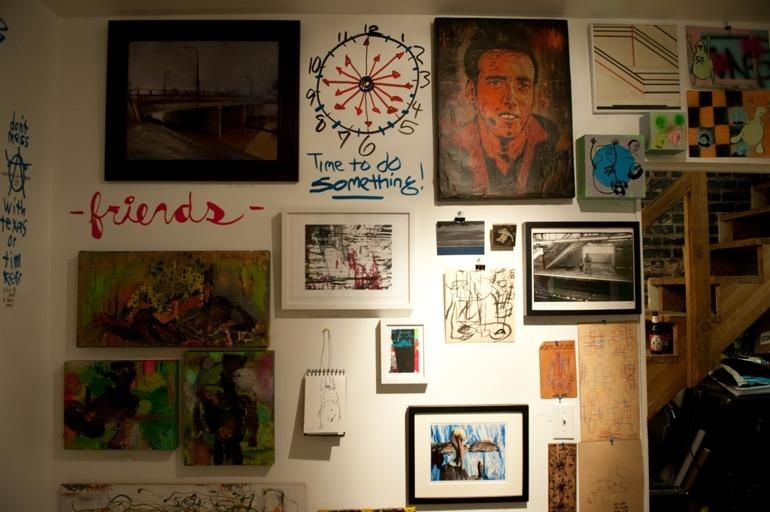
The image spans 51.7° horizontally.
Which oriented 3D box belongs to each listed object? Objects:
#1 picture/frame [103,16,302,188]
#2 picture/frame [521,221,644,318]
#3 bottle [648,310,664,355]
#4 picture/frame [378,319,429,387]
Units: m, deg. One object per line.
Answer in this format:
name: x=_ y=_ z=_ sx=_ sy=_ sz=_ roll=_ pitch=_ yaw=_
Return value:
picture/frame: x=-0.963 y=-0.823 z=4.260 sx=0.782 sy=0.746 sz=0.035 roll=0 pitch=2 yaw=1
picture/frame: x=1.039 y=0.078 z=4.263 sx=0.447 sy=0.410 sz=0.033 roll=-1 pitch=-3 yaw=-2
bottle: x=1.656 y=0.468 z=4.860 sx=0.082 sy=0.256 sz=0.123 roll=-1 pitch=-2 yaw=27
picture/frame: x=0.096 y=0.527 z=4.230 sx=0.312 sy=0.431 sz=0.034 roll=-1 pitch=-4 yaw=-4
